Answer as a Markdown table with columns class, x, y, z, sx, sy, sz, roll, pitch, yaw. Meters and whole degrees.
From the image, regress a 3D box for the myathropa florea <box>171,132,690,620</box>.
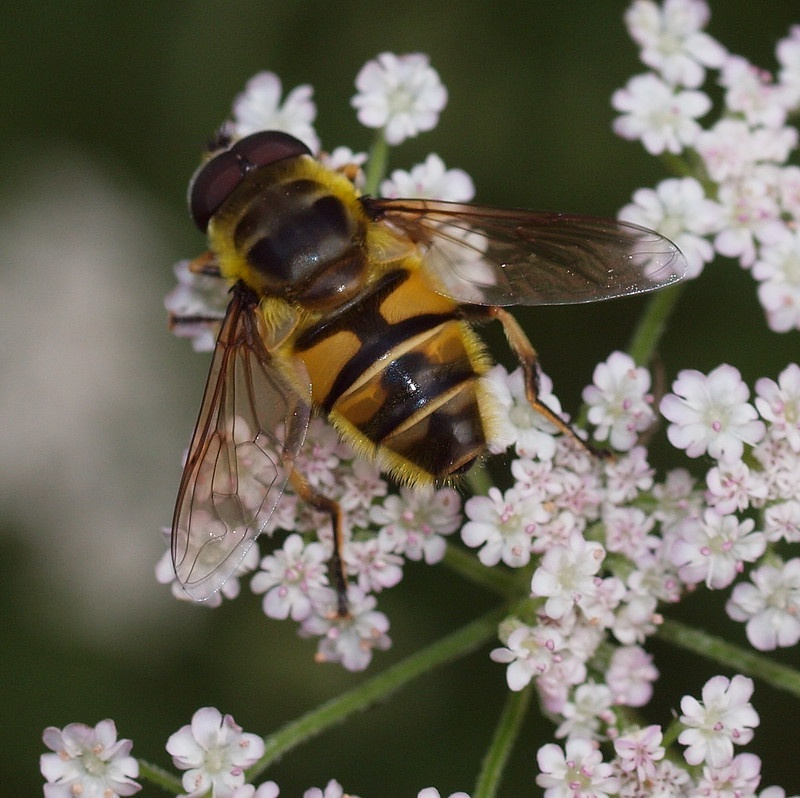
| class | x | y | z | sx | sy | sz | roll | pitch | yaw |
| --- | --- | --- | --- | --- | --- | --- | --- | --- | --- |
| myathropa florea | -0.159 | -0.148 | 3.489 | 1.677 | 1.351 | 0.521 | -23 | -19 | -8 |
